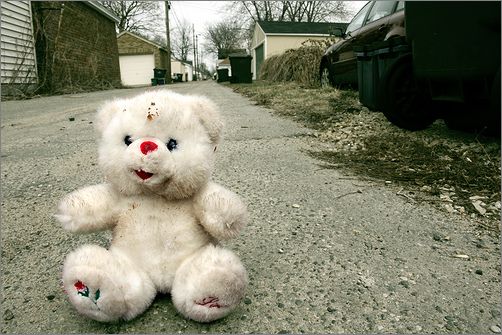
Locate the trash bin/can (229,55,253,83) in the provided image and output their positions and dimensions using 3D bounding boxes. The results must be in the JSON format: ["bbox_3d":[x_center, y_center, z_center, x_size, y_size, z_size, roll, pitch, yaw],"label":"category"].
[{"bbox_3d":[-0.564,-4.874,19.506,1.193,1.572,1.305,0,12,-3],"label":"trash bin/can"}]

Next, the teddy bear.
[{"bbox_3d":[-0.504,0.224,2.434,1.240,1.535,1.045,1,10,-3],"label":"teddy bear"}]

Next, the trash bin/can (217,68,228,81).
[{"bbox_3d":[-1.928,-6.149,26.008,0.869,0.753,0.838,-1,6,-3],"label":"trash bin/can"}]
